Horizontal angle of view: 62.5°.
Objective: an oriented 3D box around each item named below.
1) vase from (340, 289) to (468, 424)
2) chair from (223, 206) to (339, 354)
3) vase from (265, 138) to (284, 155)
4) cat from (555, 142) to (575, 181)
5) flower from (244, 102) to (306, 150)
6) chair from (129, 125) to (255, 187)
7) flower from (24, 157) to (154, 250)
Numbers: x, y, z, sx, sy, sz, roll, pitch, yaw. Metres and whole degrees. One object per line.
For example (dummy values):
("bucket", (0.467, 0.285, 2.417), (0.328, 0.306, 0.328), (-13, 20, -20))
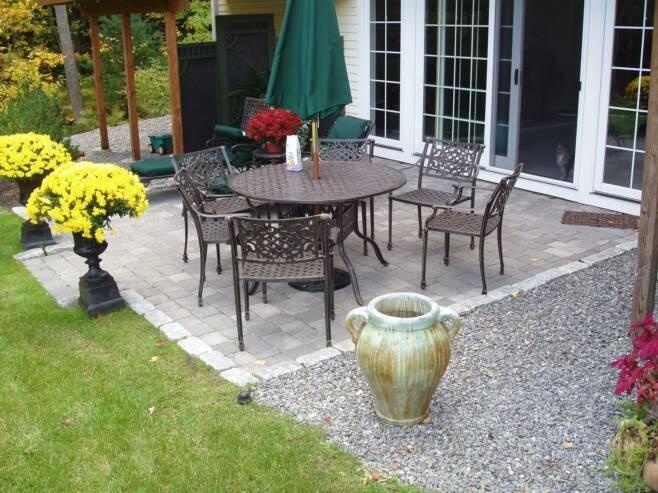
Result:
("vase", (0.433, 0.546, 3.474), (0.973, 0.816, 0.753), (-1, 18, 0))
("chair", (-0.349, 0.243, 4.164), (0.748, 1.015, 0.483), (-4, 21, -3))
("vase", (-0.718, -1.373, 7.457), (0.236, 0.141, 0.219), (1, 21, 11))
("cat", (3.331, -1.200, 7.638), (0.219, 0.469, 0.509), (7, 22, 23))
("flower", (-0.780, -1.602, 7.594), (0.804, 0.520, 0.747), (-7, 29, -7))
("chair", (-2.008, -1.387, 8.034), (2.004, 0.775, 1.198), (-15, 29, -31))
("flower", (-2.061, -0.468, 4.708), (0.847, 0.562, 0.819), (-2, 23, -7))
